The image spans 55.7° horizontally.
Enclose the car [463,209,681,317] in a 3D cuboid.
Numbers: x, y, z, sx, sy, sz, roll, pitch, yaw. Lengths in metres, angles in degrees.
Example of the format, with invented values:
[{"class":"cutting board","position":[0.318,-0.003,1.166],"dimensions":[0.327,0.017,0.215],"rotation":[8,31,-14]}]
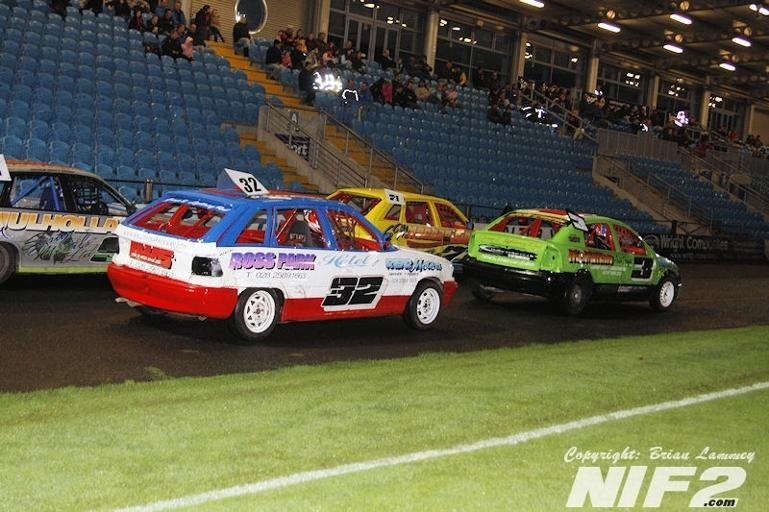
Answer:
[{"class":"car","position":[3.907,0.057,15.512],"dimensions":[4.057,1.549,2.177],"rotation":[-4,8,-36]}]

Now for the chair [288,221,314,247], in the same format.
[{"class":"chair","position":[-1.317,-0.339,11.398],"dimensions":[0.435,0.420,0.331],"rotation":[6,-5,-40]}]

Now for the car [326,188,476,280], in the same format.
[{"class":"car","position":[0.435,-0.635,16.642],"dimensions":[3.166,1.409,1.722],"rotation":[-2,8,-35]}]
